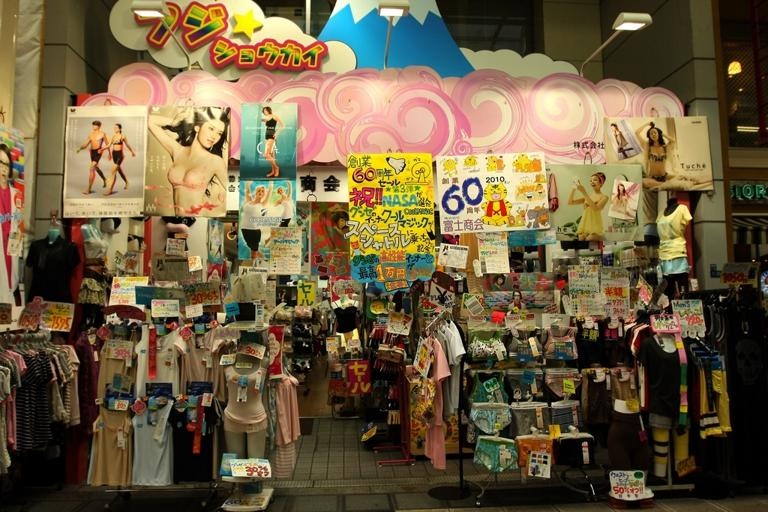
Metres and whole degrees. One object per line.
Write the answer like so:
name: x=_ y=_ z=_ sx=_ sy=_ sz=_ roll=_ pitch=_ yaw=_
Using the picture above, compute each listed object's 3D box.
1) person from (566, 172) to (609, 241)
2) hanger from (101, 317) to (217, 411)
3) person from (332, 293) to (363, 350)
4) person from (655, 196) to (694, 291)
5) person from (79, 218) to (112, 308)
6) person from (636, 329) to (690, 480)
person: x=2.672 y=-0.650 z=8.477 sx=0.511 sy=0.866 sz=0.161 roll=0 pitch=4 yaw=10
hanger: x=-2.672 y=1.347 z=7.750 sx=0.982 sy=0.879 sz=0.126 roll=-1 pitch=-4 yaw=0
person: x=-0.554 y=0.956 z=9.768 sx=0.409 sy=0.851 sz=0.609 roll=-1 pitch=5 yaw=-2
person: x=4.125 y=-0.123 z=9.232 sx=0.343 sy=1.384 sz=0.487 roll=-2 pitch=4 yaw=-20
person: x=-3.882 y=0.097 z=8.691 sx=0.371 sy=1.124 sz=0.458 roll=-2 pitch=5 yaw=-24
person: x=3.348 y=1.832 z=7.908 sx=0.608 sy=1.777 sz=0.252 roll=1 pitch=4 yaw=22
